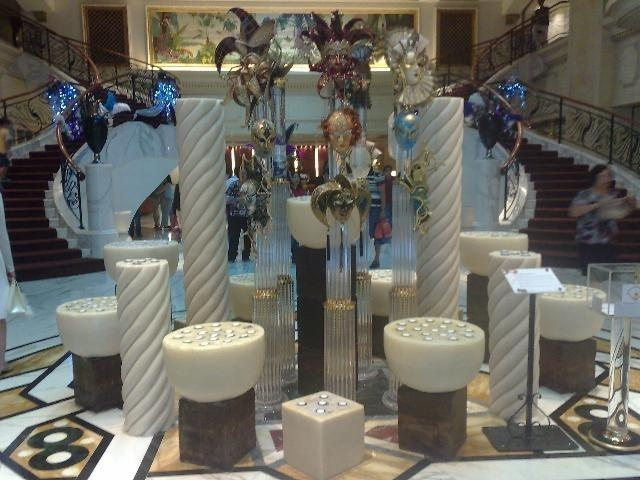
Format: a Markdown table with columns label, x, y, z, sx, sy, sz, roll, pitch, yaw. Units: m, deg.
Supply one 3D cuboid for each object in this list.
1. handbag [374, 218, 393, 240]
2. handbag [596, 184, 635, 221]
| label | x | y | z | sx | sy | sz | roll | pitch | yaw |
| --- | --- | --- | --- | --- | --- | --- | --- | --- | --- |
| handbag | 0.889 | -0.169 | 7.740 | 0.187 | 0.307 | 0.139 | 0 | 9 | -6 |
| handbag | 3.376 | -0.372 | 6.213 | 0.554 | 0.369 | 0.309 | -9 | 14 | -32 |
